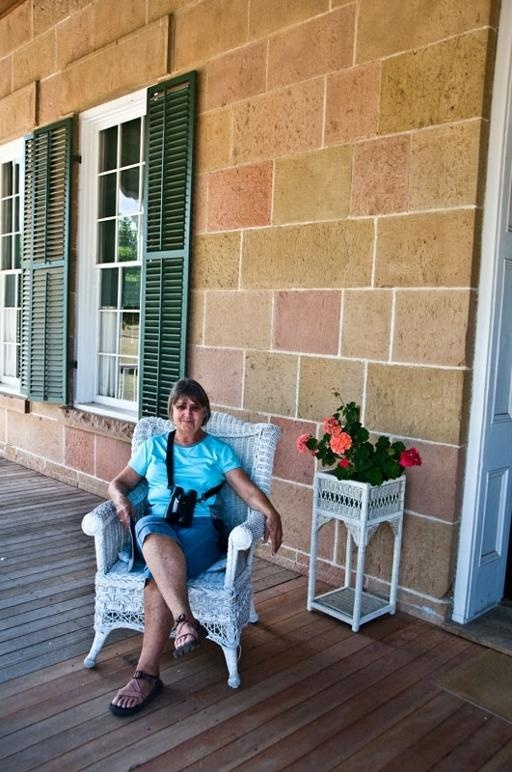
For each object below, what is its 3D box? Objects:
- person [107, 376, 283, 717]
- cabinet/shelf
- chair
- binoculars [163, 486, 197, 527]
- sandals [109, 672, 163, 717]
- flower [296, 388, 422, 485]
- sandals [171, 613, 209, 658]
[{"bbox_3d":[-0.199,0.470,2.180,0.548,0.617,1.036,4,32,-1],"label":"person"},{"bbox_3d":[0.416,0.660,2.618,0.335,0.605,0.387,-1,4,-39],"label":"cabinet/shelf"},{"bbox_3d":[-0.273,0.544,2.313,0.639,0.838,0.742,3,3,-2],"label":"chair"},{"bbox_3d":[-0.265,0.429,2.185,0.093,0.132,0.055,15,-27,-14],"label":"binoculars"},{"bbox_3d":[-0.356,0.908,1.826,0.070,0.065,0.146,0,-7,27],"label":"sandals"},{"bbox_3d":[0.423,0.292,2.473,0.517,0.232,0.392,22,-32,-20],"label":"flower"},{"bbox_3d":[-0.192,0.734,1.826,0.059,0.076,0.190,-20,-18,-5],"label":"sandals"}]
